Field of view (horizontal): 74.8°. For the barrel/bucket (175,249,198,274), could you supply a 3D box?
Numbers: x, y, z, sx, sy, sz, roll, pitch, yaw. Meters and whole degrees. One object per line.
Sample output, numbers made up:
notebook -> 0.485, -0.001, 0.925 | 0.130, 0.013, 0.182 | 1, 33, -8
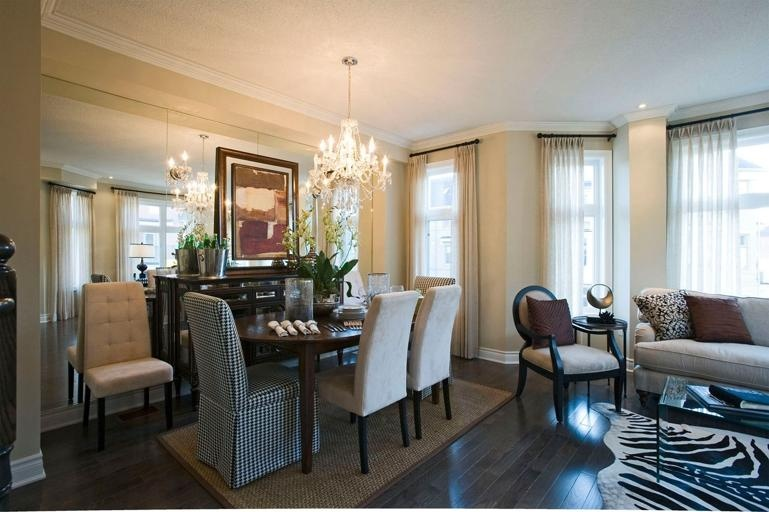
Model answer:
barrel/bucket -> -2.131, 0.058, 5.422 | 0.255, 0.268, 0.243 | -1, -4, 0

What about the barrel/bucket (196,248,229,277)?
barrel/bucket -> -1.879, 0.068, 5.469 | 0.299, 0.293, 0.103 | -2, 1, -24

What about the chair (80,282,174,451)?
chair -> -2.557, 1.007, 4.949 | 0.755, 1.667, 0.710 | -3, 1, -33

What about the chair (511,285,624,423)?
chair -> 1.990, 1.002, 5.475 | 0.894, 1.321, 0.908 | -2, 1, -25

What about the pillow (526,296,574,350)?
pillow -> 1.793, 0.755, 5.511 | 0.560, 0.507, 0.274 | -2, 0, -17

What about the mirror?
mirror -> -1.956, -0.113, 5.190 | 0.080, 2.409, 3.561 | -10, -11, 43
